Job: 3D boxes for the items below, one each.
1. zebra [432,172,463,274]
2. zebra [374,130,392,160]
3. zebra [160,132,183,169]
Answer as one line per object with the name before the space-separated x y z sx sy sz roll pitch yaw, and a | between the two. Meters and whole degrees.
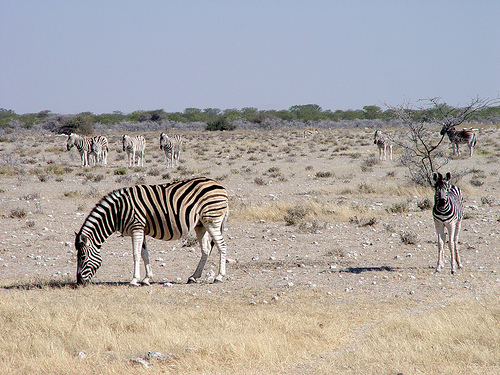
zebra | 5.640 0.910 17.981 1.011 2.959 1.137 3 7 19
zebra | 9.561 -3.109 45.038 1.180 2.307 5.044 2 11 12
zebra | -5.427 -2.587 42.962 0.815 2.468 3.430 2 8 13
